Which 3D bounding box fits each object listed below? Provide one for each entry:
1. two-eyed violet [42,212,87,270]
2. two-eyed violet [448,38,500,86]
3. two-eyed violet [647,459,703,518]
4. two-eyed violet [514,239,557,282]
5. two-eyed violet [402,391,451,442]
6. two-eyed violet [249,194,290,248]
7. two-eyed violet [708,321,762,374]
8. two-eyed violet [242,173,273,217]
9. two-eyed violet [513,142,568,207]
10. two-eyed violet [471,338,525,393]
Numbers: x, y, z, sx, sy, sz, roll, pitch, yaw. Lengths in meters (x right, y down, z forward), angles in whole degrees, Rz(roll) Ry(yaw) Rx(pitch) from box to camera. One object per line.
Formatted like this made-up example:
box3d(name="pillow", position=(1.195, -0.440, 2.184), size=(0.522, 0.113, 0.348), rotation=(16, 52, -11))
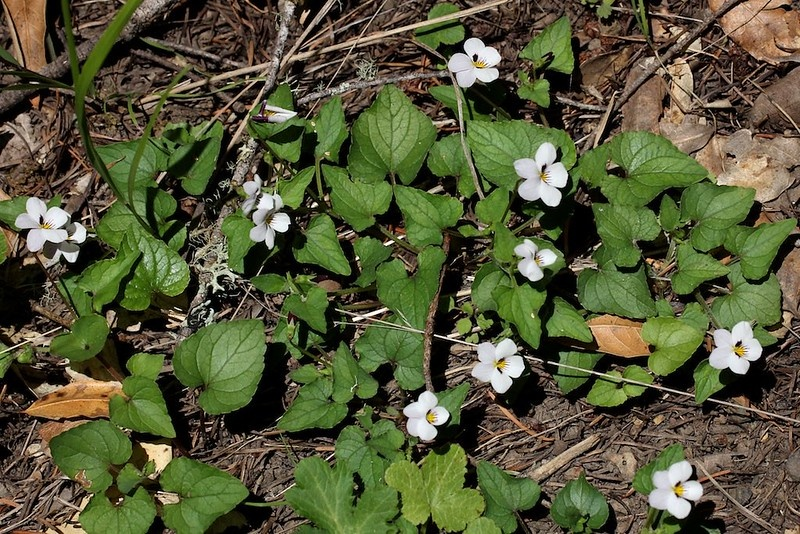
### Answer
box3d(name="two-eyed violet", position=(-2.342, -0.192, 5.146), size=(0.311, 0.101, 0.353), rotation=(-5, 104, -27))
box3d(name="two-eyed violet", position=(0.506, -1.398, 5.004), size=(0.330, 0.125, 0.360), rotation=(14, 81, -6))
box3d(name="two-eyed violet", position=(1.747, 1.411, 4.593), size=(0.118, 0.355, 0.353), rotation=(41, 69, -24))
box3d(name="two-eyed violet", position=(0.853, -0.062, 4.704), size=(0.243, 0.134, 0.256), rotation=(40, 68, 14))
box3d(name="two-eyed violet", position=(0.161, 0.981, 4.756), size=(0.386, 0.392, 0.122), rotation=(-7, 102, 12))
box3d(name="two-eyed violet", position=(-0.901, -0.339, 4.869), size=(0.097, 0.280, 0.310), rotation=(-19, 41, -21))
box3d(name="two-eyed violet", position=(2.197, 0.559, 4.890), size=(0.314, 0.340, 0.331), rotation=(14, 63, 3))
box3d(name="two-eyed violet", position=(-0.960, -0.501, 4.861), size=(0.090, 0.243, 0.237), rotation=(15, 24, -10))
box3d(name="two-eyed violet", position=(0.913, -0.613, 4.798), size=(0.343, 0.226, 0.378), rotation=(0, 64, -4))
box3d(name="two-eyed violet", position=(0.645, 0.615, 4.762), size=(0.319, 0.184, 0.304), rotation=(26, 65, 8))
